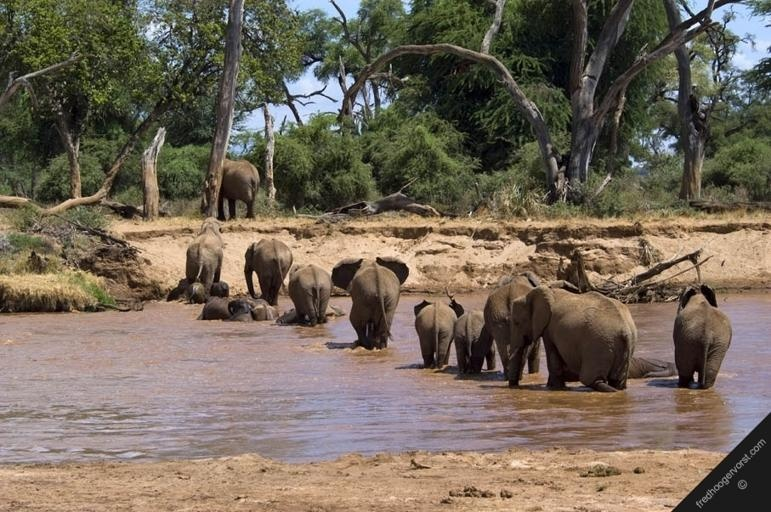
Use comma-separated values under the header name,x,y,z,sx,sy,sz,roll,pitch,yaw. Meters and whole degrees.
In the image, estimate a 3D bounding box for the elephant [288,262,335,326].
name,x,y,z,sx,sy,sz,roll,pitch,yaw
elephant,-2.292,1.218,35.778,1.241,1.818,1.039,0,-2,-5

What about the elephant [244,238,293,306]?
name,x,y,z,sx,sy,sz,roll,pitch,yaw
elephant,-3.993,0.325,39.904,1.102,1.643,2.691,0,6,-10

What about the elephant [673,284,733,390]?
name,x,y,z,sx,sy,sz,roll,pitch,yaw
elephant,7.721,1.984,28.680,1.253,2.533,0.750,0,-2,14

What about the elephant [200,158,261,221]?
name,x,y,z,sx,sy,sz,roll,pitch,yaw
elephant,-6.199,-2.926,49.672,1.559,2.384,3.381,-1,4,-37

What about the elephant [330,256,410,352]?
name,x,y,z,sx,sy,sz,roll,pitch,yaw
elephant,-0.441,1.331,33.452,2.178,2.602,3.225,0,-2,-2
